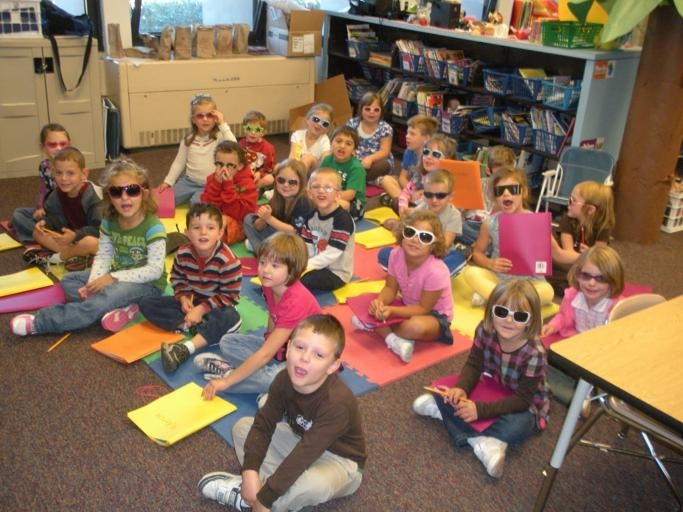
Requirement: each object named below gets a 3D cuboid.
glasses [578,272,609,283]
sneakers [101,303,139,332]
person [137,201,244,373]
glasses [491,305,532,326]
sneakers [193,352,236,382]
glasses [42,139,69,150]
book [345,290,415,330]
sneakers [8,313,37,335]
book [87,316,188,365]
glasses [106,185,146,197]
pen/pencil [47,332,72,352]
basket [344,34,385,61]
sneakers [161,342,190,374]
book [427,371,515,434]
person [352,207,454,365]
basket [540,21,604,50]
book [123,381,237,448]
[{"bbox_3d":[1.210,0.101,2.512,0.121,0.043,0.020,12,26,24],"label":"glasses"},{"bbox_3d":[-1.182,0.335,2.841,0.100,0.084,0.224,2,15,34],"label":"sneakers"},{"bbox_3d":[-0.718,0.098,2.857,0.576,0.815,0.794,8,19,14],"label":"person"},{"bbox_3d":[0.693,0.236,2.126,0.152,0.062,0.041,8,24,15],"label":"glasses"},{"bbox_3d":[-0.597,0.524,2.462,0.170,0.058,0.107,19,57,10],"label":"sneakers"},{"bbox_3d":[-2.043,-0.788,3.749,0.163,0.069,0.135,-12,27,-28],"label":"glasses"},{"bbox_3d":[0.171,0.288,2.811,0.210,0.057,0.207,-13,35,-20],"label":"book"},{"bbox_3d":[-1.646,0.361,2.709,0.118,0.100,0.088,-12,27,-27],"label":"sneakers"},{"bbox_3d":[-1.041,0.441,2.693,0.342,0.050,0.336,17,28,32],"label":"book"},{"bbox_3d":[-1.163,-0.351,2.807,0.166,0.067,0.060,-7,25,-17],"label":"glasses"},{"bbox_3d":[-1.439,0.428,2.727,0.020,0.020,0.203,20,36,14],"label":"pen/pencil"},{"bbox_3d":[0.261,-2.374,6.014,0.363,0.167,0.243,-15,27,-36],"label":"basket"},{"bbox_3d":[-0.798,0.486,2.549,0.069,0.084,0.192,-1,2,7],"label":"sneakers"},{"bbox_3d":[0.588,0.602,2.320,0.252,0.062,0.240,-15,29,-36],"label":"book"},{"bbox_3d":[0.349,0.191,2.873,0.530,0.719,0.544,-20,34,-33],"label":"person"},{"bbox_3d":[1.772,-1.698,4.048,0.384,0.156,0.249,-10,28,-31],"label":"basket"},{"bbox_3d":[-0.683,0.670,2.228,0.245,0.037,0.234,24,32,38],"label":"book"}]
